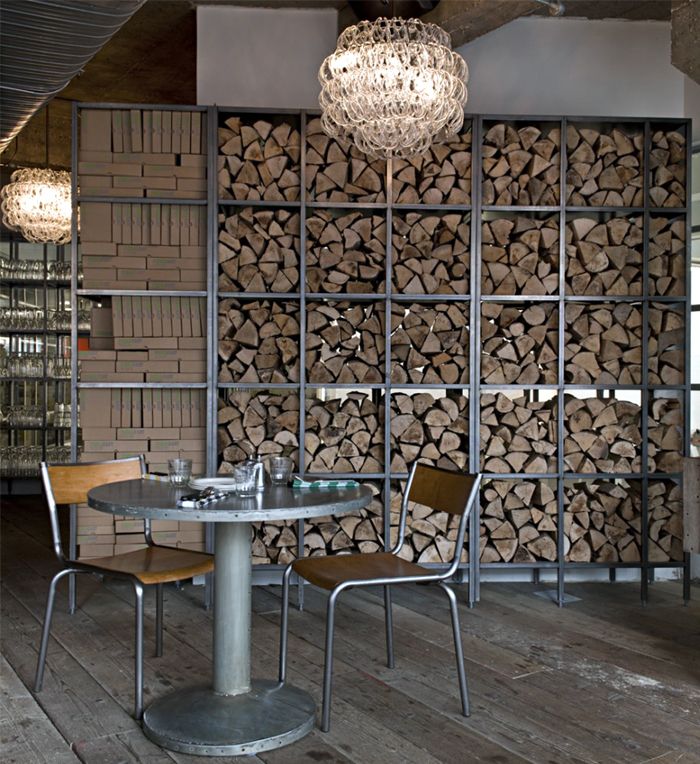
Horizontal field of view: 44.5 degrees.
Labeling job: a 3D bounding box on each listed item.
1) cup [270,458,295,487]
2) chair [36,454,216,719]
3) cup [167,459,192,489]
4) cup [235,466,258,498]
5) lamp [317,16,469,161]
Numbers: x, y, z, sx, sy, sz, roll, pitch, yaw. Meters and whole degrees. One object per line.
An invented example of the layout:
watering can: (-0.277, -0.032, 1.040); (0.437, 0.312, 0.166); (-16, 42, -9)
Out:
cup: (-0.227, 0.316, 2.995); (0.086, 0.091, 0.082); (0, -1, 0)
chair: (-0.776, 0.697, 3.105); (0.599, 0.813, 0.604); (1, 1, 10)
cup: (-0.581, 0.307, 2.889); (0.080, 0.086, 0.077); (0, -6, 0)
cup: (-0.318, 0.307, 2.709); (0.053, 0.092, 0.125); (2, 2, 23)
lamp: (0.164, -1.316, 3.599); (0.608, 0.455, 0.636); (2, -7, -20)
